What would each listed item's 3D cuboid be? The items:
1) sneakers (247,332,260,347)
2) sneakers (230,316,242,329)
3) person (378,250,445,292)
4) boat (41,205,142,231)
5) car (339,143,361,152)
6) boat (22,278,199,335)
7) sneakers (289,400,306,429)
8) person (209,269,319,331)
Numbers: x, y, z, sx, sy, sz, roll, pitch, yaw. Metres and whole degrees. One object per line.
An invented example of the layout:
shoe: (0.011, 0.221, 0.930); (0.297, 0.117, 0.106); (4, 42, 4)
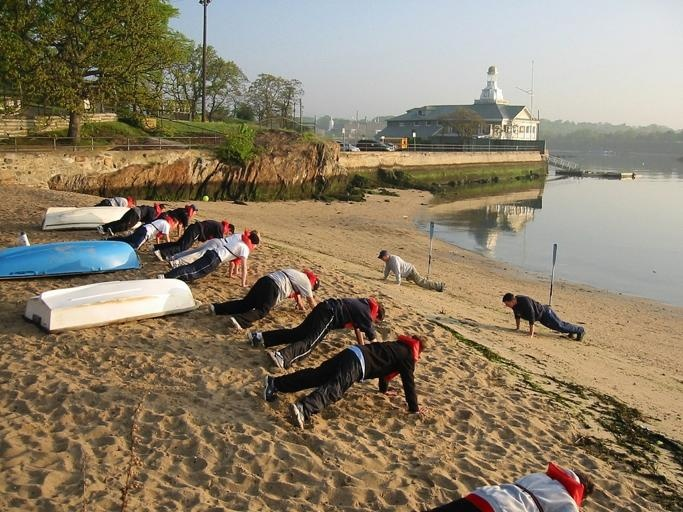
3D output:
sneakers: (-1.726, 1.665, 11.084); (0.338, 0.356, 0.142); (1, 7, -3)
sneakers: (-2.201, 1.426, 11.699); (0.273, 0.320, 0.285); (2, 14, -8)
person: (2.027, 0.465, 17.595); (2.121, 1.358, 0.860); (-3, 16, -26)
boat: (-7.753, -1.170, 16.952); (2.206, 0.408, 1.163); (-1, 11, -26)
car: (0.867, -10.800, 55.533); (1.802, 0.775, 8.970); (4, 11, 1)
boat: (-4.640, 0.986, 11.572); (2.663, 0.478, 1.234); (-2, 6, -38)
sneakers: (-0.760, 2.639, 9.245); (0.231, 0.445, 0.186); (-4, -21, -22)
person: (-1.420, 0.851, 11.809); (2.395, 0.714, 1.262); (-14, 30, -28)
